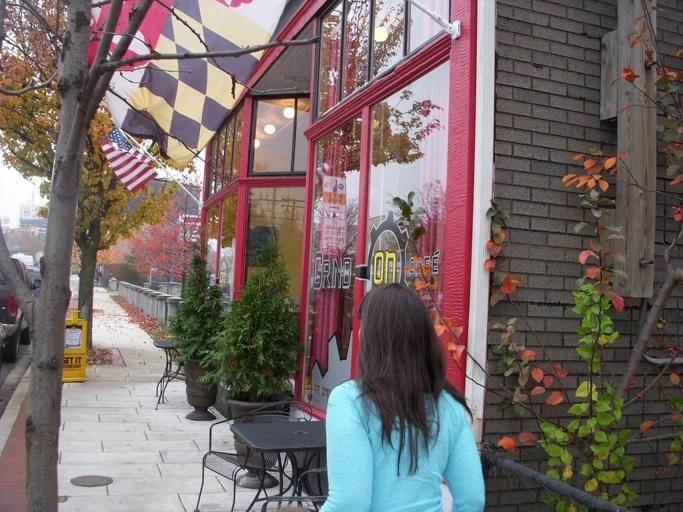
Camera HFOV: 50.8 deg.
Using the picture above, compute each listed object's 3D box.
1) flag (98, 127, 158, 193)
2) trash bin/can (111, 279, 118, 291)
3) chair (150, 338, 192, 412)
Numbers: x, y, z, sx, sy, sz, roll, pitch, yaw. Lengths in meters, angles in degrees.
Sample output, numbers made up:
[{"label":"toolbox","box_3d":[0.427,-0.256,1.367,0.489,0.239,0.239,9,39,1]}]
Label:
[{"label":"flag","box_3d":[-3.810,-1.722,12.588,0.923,1.132,0.965,4,-1,-7]},{"label":"trash bin/can","box_3d":[-23.764,2.922,73.155,0.766,1.392,0.834,-2,4,-35]},{"label":"chair","box_3d":[-2.743,1.893,11.267,0.972,1.146,0.981,3,-6,-17]}]
